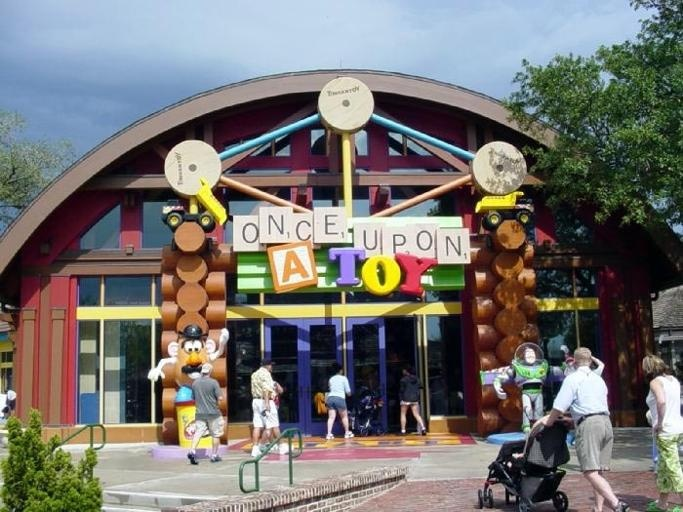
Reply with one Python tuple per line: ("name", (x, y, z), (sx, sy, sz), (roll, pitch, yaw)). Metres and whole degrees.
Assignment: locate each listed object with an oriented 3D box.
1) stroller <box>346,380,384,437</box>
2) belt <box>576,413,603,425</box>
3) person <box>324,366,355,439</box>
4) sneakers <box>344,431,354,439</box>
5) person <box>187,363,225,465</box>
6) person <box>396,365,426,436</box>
("stroller", (0.629, 4.219, 25.465), (0.917, 1.401, 0.900), (-3, -31, -1))
("belt", (4.097, 2.694, 15.905), (0.250, 0.081, 0.252), (-26, -25, 35))
("person", (-0.098, 3.770, 24.737), (0.692, 1.943, 0.638), (-3, -11, -1))
("sneakers", (0.204, 4.637, 24.748), (0.105, 0.148, 0.331), (0, -1, 27))
("person", (-3.058, 3.534, 21.437), (0.781, 2.230, 1.096), (-2, -11, -9))
("person", (1.831, 3.852, 25.247), (0.675, 1.769, 1.016), (-5, -11, 5))
